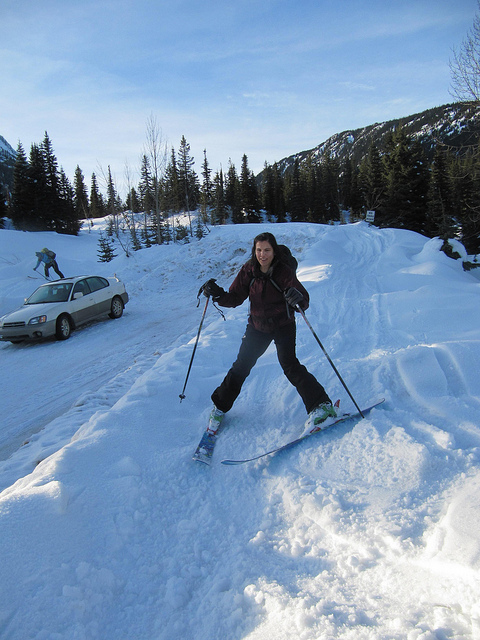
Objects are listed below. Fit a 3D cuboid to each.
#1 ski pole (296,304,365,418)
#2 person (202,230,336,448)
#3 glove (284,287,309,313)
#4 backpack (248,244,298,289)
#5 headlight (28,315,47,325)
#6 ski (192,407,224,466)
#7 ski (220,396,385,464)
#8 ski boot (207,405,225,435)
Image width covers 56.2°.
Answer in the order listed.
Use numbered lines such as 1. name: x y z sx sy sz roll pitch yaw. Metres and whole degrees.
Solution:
1. ski pole: 0.988 0.443 4.905 0.047 1.250 0.090 -29 -2 -44
2. person: 0.207 0.095 3.714 1.065 1.629 0.867 -1 9 9
3. glove: 0.445 -0.171 3.539 0.134 0.232 0.062 -35 27 16
4. backpack: 0.305 -0.492 3.875 0.283 0.405 0.393 -12 5 27
5. headlight: -3.719 -0.012 8.224 0.321 0.133 0.097 -12 11 -23
6. ski: -0.256 0.959 3.690 0.135 0.562 0.045 20 25 8
7. ski: 0.535 0.919 3.696 0.962 0.071 0.095 -25 -5 -14
8. ski boot: -0.218 0.851 3.809 0.123 0.218 0.089 7 -7 -12
